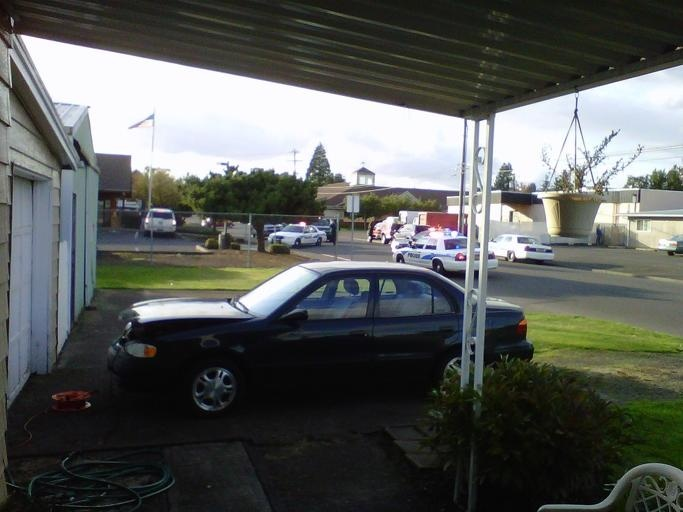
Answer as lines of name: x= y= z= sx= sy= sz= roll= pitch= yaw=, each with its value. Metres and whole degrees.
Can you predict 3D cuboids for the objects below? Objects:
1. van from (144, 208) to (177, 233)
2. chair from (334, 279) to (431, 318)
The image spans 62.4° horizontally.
van: x=-11.904 y=-2.255 z=36.991 sx=1.541 sy=1.520 sz=3.242 roll=0 pitch=14 yaw=-17
chair: x=0.638 y=0.508 z=7.015 sx=0.866 sy=0.284 sz=0.551 roll=-1 pitch=8 yaw=-8
